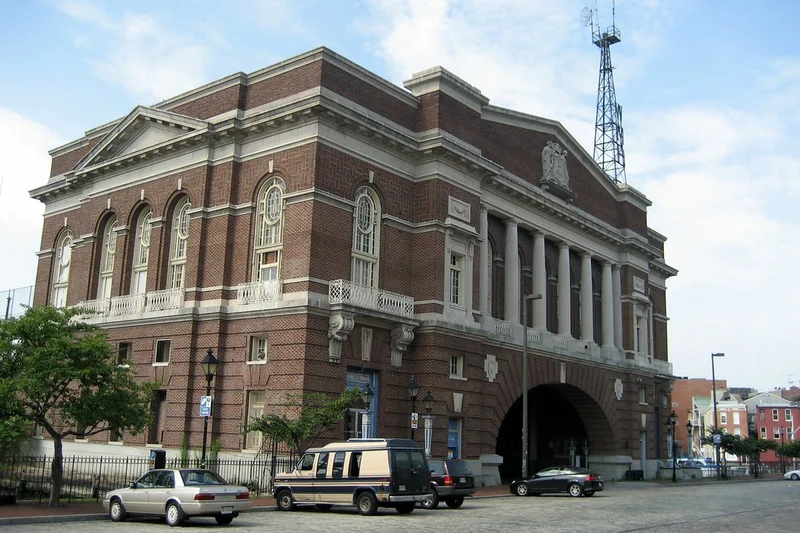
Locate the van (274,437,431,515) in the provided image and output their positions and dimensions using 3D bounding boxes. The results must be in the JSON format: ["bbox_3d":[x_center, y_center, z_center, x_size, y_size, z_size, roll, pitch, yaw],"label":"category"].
[{"bbox_3d":[-2.148,9.475,35.298,6.026,2.624,3.323,-7,-20,29],"label":"van"}]

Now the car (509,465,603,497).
[{"bbox_3d":[8.713,11.980,43.732,4.579,1.598,0.944,-2,-20,4],"label":"car"}]
